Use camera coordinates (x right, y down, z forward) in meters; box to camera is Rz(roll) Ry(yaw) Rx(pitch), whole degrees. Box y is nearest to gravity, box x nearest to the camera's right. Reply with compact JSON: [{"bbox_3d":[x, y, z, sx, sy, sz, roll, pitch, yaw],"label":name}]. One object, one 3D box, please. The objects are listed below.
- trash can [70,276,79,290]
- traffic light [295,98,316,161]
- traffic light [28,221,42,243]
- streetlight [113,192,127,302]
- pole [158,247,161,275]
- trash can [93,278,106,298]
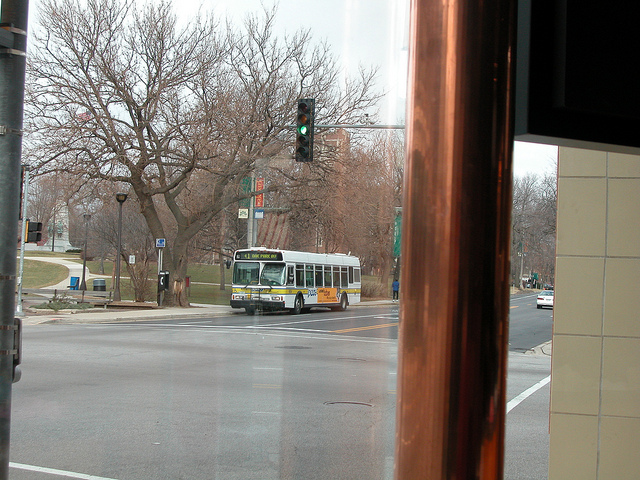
[{"bbox_3d":[-14.831,2.646,40.200,0.492,0.736,1.837,2,-3,-21],"label":"trash can"},{"bbox_3d":[-0.208,-1.509,9.241,0.249,0.959,0.921,2,-2,-2],"label":"traffic light"},{"bbox_3d":[-6.893,-0.198,16.059,0.290,0.498,1.055,3,-3,-24],"label":"traffic light"},{"bbox_3d":[-9.240,0.384,30.569,0.641,5.175,0.687,5,9,2],"label":"streetlight"},{"bbox_3d":[-6.575,0.791,27.261,0.061,0.912,0.403,2,-2,-17],"label":"pole"},{"bbox_3d":[-12.695,2.634,38.270,0.537,0.633,1.114,2,-3,-12],"label":"trash can"}]
